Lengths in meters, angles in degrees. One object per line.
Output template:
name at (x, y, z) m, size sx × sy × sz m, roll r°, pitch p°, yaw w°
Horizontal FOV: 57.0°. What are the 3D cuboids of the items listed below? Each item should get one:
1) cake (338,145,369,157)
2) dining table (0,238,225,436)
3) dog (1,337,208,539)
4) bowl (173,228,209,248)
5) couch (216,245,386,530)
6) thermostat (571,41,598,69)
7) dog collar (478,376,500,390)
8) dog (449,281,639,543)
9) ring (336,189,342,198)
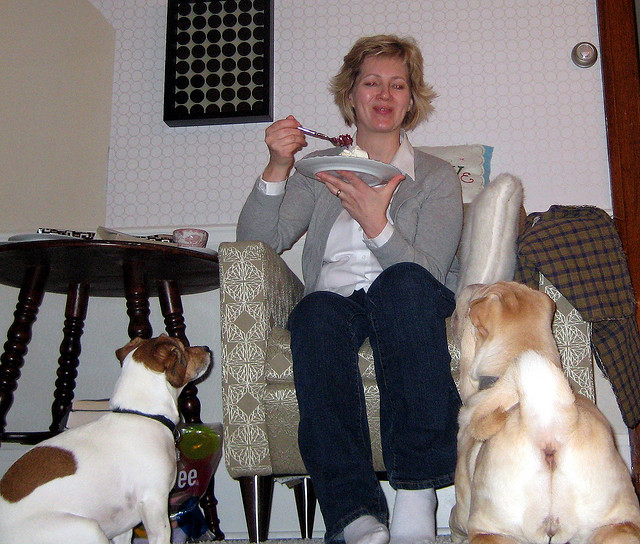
cake at (0.110, -0.412, 2.038) m, size 0.076 × 0.030 × 0.081 m, roll 6°, pitch 9°, yaw 43°
dining table at (-0.763, 0.171, 2.140) m, size 0.794 × 0.581 × 0.803 m, roll 1°, pitch -18°, yaw -3°
dog at (-0.540, 0.431, 1.488) m, size 0.453 × 0.461 × 0.312 m, roll 1°, pitch 4°, yaw -33°
bowl at (-0.479, -0.118, 2.213) m, size 0.086 × 0.061 × 0.078 m, roll 2°, pitch -6°, yaw -15°
couch at (-0.050, 0.331, 1.924) m, size 0.507 × 0.709 × 0.539 m, roll -2°, pitch 32°, yaw 11°
thermostat at (1.311, -1.092, 2.933) m, size 0.122 × 0.096 × 0.058 m, roll 5°, pitch 4°, yaw 15°
dog collar at (0.340, 0.230, 1.202) m, size 0.026 × 0.026 × 0.030 m, roll 2°, pitch -10°, yaw -3°
dog at (0.407, 0.244, 1.291) m, size 0.385 × 0.530 × 0.661 m, roll -2°, pitch -1°, yaw 4°
ring at (0.059, -0.248, 1.846) m, size 0.011 × 0.016 × 0.017 m, roll 10°, pitch 5°, yaw 17°
